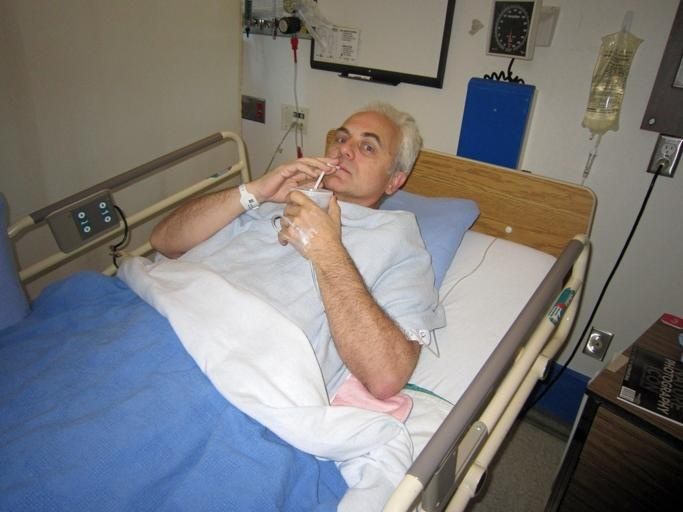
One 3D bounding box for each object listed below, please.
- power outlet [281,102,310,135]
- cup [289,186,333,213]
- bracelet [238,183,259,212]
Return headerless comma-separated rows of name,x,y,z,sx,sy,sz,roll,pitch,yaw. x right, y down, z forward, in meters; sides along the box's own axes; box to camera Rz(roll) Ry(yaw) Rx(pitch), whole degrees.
power outlet,-0.301,-0.903,3.195,0.180,0.149,0.031,20,31,29
cup,-0.117,-0.225,1.861,0.099,0.084,0.087,6,22,7
bracelet,-0.407,-0.250,2.108,0.066,0.107,0.034,-30,1,4
